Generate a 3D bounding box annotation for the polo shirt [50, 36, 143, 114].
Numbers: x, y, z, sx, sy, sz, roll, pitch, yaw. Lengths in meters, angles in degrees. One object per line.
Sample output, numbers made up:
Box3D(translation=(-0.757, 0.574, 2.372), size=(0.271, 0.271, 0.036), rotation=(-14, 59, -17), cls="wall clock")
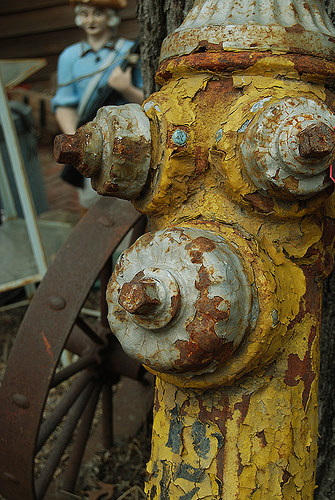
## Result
Box3D(translation=(-0.354, -0.899, 3.017), size=(0.579, 0.468, 0.283), rotation=(0, 3, 1), cls="polo shirt")
